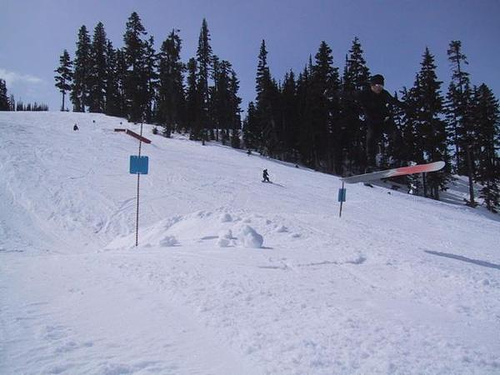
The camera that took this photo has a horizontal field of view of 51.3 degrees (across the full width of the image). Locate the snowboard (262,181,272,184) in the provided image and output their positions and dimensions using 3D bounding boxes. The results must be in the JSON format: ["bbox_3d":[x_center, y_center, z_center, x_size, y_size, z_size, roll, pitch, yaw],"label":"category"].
[{"bbox_3d":[1.307,-0.426,40.771,0.779,0.155,0.448,-8,16,-26],"label":"snowboard"}]

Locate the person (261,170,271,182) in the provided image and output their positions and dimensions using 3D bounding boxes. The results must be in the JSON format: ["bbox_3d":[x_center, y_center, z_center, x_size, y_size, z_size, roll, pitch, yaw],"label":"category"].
[{"bbox_3d":[1.156,-0.993,41.062,0.606,0.971,1.177,-1,13,0],"label":"person"}]
